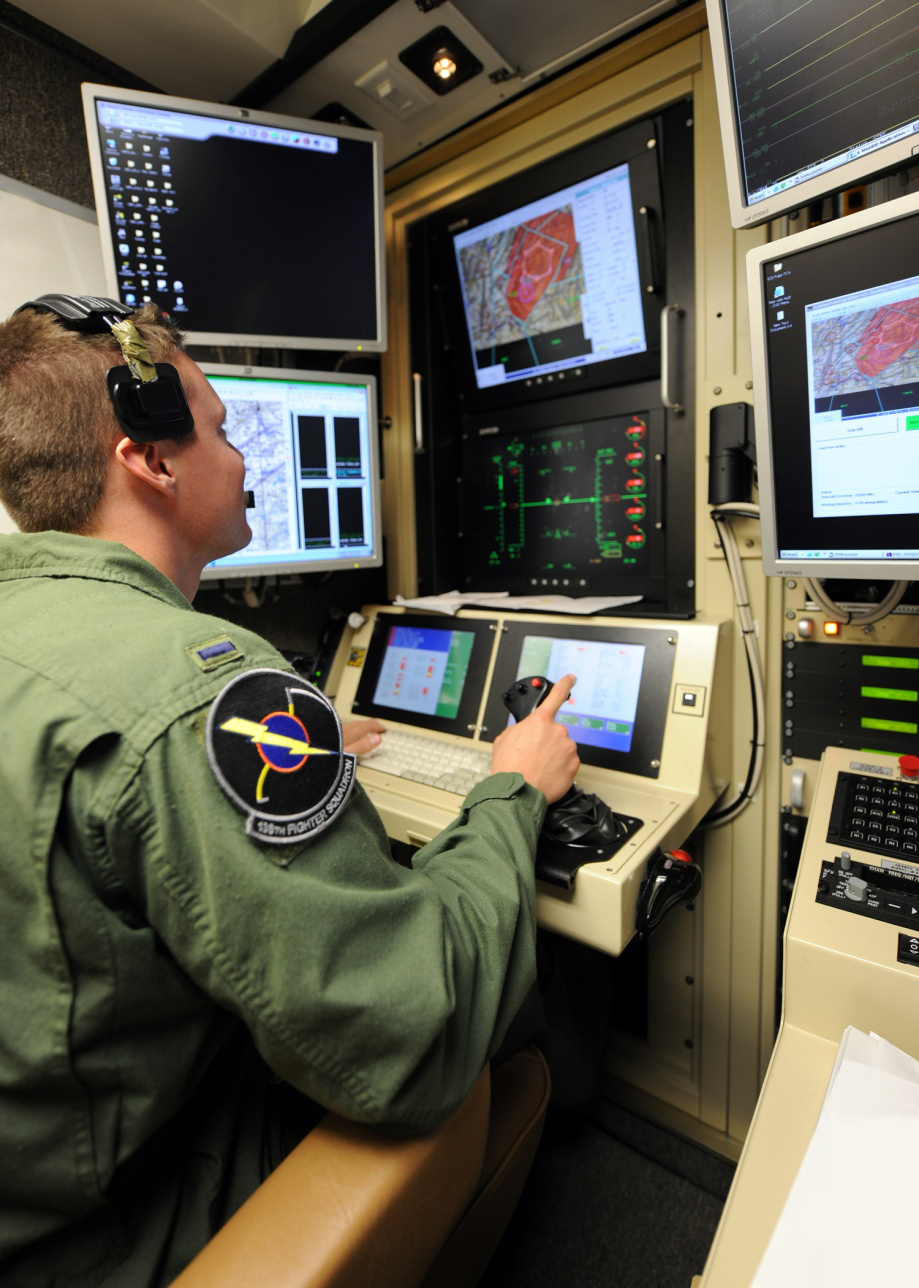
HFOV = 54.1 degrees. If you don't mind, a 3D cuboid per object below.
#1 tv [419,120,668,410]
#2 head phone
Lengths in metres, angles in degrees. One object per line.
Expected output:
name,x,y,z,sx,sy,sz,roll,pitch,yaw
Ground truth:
tv,0.187,-0.803,1.868,0.029,0.431,0.591,-15,15,-38
head phone,-0.391,-0.285,1.008,0.189,0.103,0.133,44,41,12
